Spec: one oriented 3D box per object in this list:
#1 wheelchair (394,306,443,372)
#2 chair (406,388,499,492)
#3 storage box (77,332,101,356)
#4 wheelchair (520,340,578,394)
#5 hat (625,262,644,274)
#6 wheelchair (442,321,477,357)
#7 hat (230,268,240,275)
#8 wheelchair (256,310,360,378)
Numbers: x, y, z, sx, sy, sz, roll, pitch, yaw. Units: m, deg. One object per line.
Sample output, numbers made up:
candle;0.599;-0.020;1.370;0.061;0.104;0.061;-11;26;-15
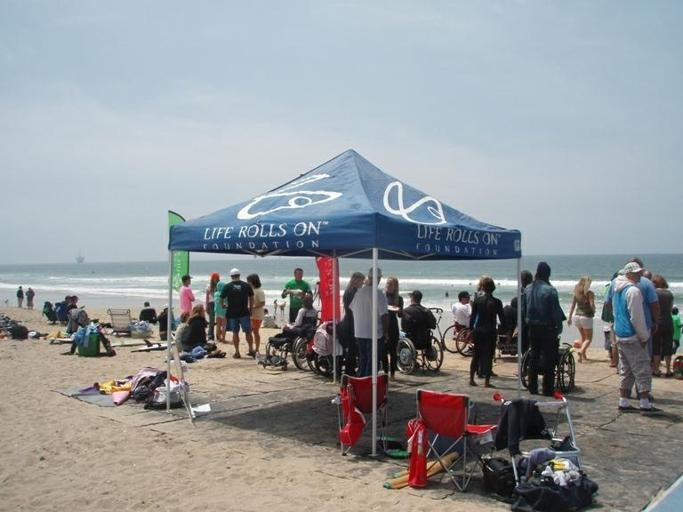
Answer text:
wheelchair;1.650;1.718;16.593;0.926;1.376;1.436;0;-2;8
chair;1.543;2.402;11.074;1.046;1.340;1.062;0;-1;36
storage box;-5.805;2.064;18.636;0.487;0.571;0.453;2;-2;17
wheelchair;3.827;1.992;14.578;0.751;0.920;1.153;2;3;33
hat;4.876;0.198;13.253;0.266;0.144;0.216;-5;-5;22
wheelchair;2.855;1.883;18.936;0.857;0.964;0.680;-12;-22;17
hat;-2.368;0.349;17.715;0.168;0.145;0.256;-2;3;1
wheelchair;-0.342;1.866;16.246;1.915;1.542;1.554;-1;6;-33
